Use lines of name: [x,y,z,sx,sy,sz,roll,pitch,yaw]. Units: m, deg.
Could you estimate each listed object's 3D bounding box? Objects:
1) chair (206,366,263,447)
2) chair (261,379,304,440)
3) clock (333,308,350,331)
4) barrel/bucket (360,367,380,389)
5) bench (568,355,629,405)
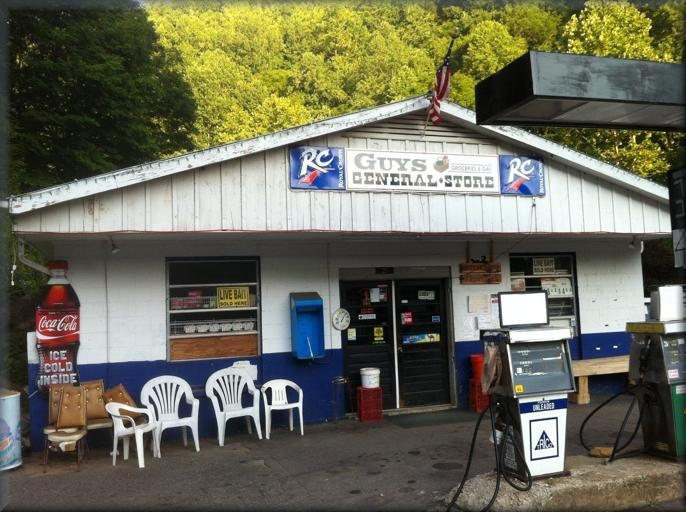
chair: [-1.912,2.691,11.801,0.935,1.204,0.894,-2,-4,-36]
chair: [-1.105,2.765,11.983,0.763,0.927,0.710,0,-5,-33]
clock: [-0.042,1.250,12.930,0.415,0.423,0.058,-4,-8,-30]
barrel/bucket: [0.521,2.368,12.845,0.353,0.324,0.358,-2,-3,0]
bench: [5.301,2.627,13.816,1.646,0.780,0.780,-5,5,-34]
